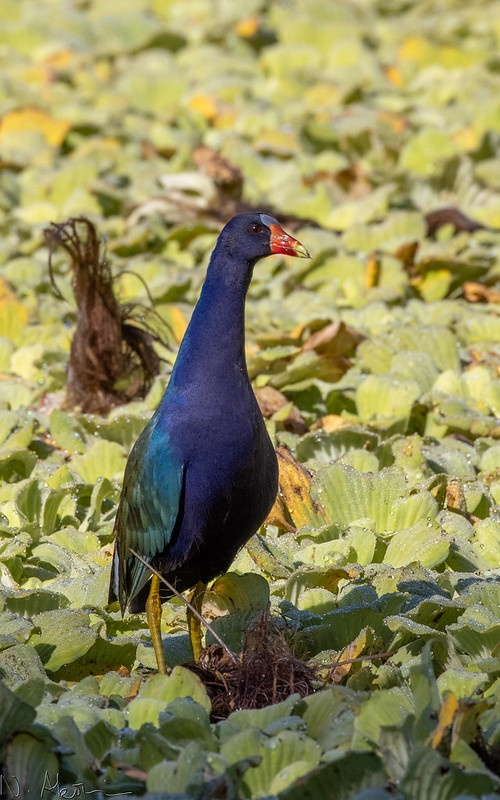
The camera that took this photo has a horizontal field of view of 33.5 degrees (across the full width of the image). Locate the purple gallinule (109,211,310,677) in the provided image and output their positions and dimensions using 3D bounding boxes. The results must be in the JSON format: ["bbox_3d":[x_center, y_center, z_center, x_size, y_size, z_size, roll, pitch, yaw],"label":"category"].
[{"bbox_3d":[-0.128,0.052,2.093,0.403,0.961,0.495,2,25,2],"label":"purple gallinule"}]
